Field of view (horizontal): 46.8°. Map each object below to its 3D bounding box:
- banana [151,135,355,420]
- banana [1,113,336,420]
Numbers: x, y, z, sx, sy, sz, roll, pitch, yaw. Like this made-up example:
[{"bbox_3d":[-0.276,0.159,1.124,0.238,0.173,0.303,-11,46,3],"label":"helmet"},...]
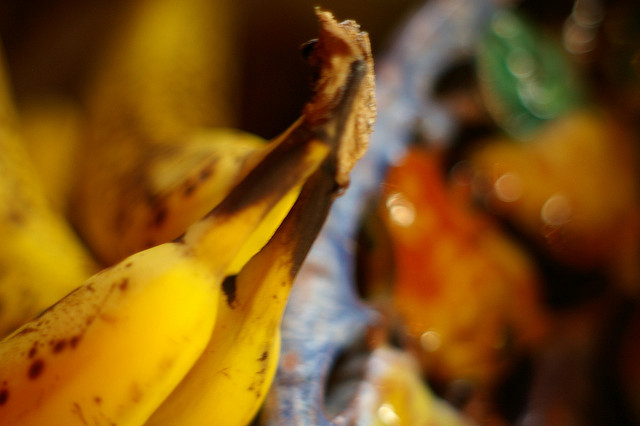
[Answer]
[{"bbox_3d":[-0.071,0.064,0.704,0.062,0.269,0.096,29,3,-34],"label":"banana"},{"bbox_3d":[-0.157,0.047,0.696,0.304,0.083,0.117,-45,-5,-15],"label":"banana"}]
